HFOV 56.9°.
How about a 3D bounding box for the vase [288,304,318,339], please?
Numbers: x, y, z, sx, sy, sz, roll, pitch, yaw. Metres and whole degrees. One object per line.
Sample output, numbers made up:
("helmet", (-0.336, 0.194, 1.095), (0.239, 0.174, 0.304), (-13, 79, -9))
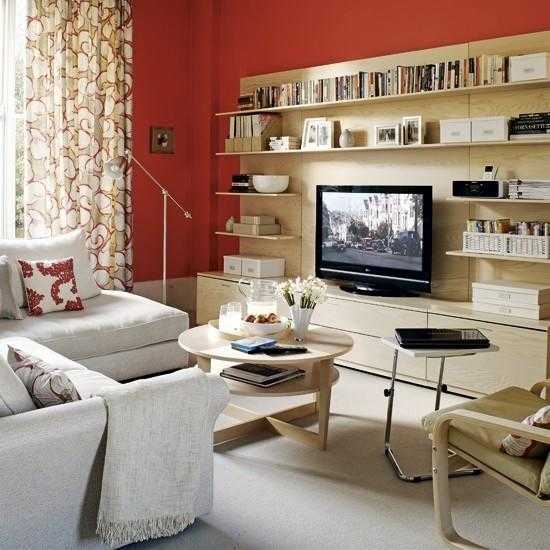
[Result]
("vase", (0.128, 0.239, 2.809), (0.157, 0.217, 0.185), (1, 3, -35))

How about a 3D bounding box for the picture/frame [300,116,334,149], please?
("picture/frame", (0.374, -1.220, 4.352), (0.036, 0.311, 0.360), (4, 0, -39))

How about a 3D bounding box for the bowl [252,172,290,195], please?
("bowl", (-0.040, -0.838, 4.734), (0.226, 0.102, 0.231), (0, 2, 0))

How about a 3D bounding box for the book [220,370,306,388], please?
("book", (-0.071, 0.513, 2.494), (0.182, 0.020, 0.198), (-1, 5, -33))

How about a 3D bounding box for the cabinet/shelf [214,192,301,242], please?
("cabinet/shelf", (-0.151, -0.574, 4.875), (0.812, 0.446, 0.308), (6, 7, 43))

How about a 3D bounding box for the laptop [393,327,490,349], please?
("laptop", (0.752, 0.284, 2.372), (0.407, 0.045, 0.367), (1, 5, 1))

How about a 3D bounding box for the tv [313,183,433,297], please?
("tv", (0.792, -0.276, 3.943), (0.247, 0.654, 0.899), (-2, 6, -41))

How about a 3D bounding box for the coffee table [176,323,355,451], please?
("coffee table", (-0.024, 0.505, 2.649), (0.692, 0.428, 0.706), (4, 6, 44))

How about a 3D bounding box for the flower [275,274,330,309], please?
("flower", (0.145, 0.091, 2.766), (0.262, 0.178, 0.246), (-2, -3, 42))

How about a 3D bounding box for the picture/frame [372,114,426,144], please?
("picture/frame", (0.919, -1.064, 3.809), (0.094, 0.216, 0.409), (-4, 7, -42))
